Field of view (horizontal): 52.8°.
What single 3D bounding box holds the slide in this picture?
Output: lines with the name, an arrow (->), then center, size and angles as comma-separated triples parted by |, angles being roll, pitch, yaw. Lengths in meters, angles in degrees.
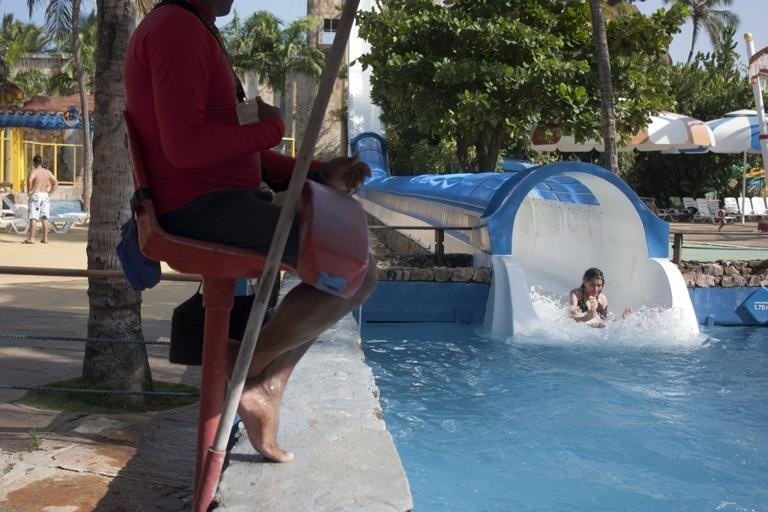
slide -> 1.845, -0.287, 15.080 | 2.442, 3.231, 7.960 | -1, 0, -16

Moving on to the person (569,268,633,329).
person -> 3.240, 0.819, 12.024 | 0.828, 1.139, 1.083 | 4, 8, 0

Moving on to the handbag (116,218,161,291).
handbag -> -1.704, -0.048, 5.392 | 0.366, 0.471, 0.173 | 15, -41, -18
